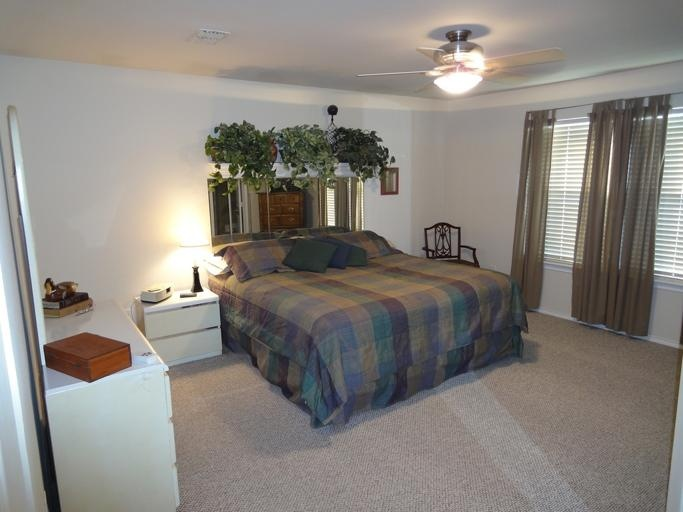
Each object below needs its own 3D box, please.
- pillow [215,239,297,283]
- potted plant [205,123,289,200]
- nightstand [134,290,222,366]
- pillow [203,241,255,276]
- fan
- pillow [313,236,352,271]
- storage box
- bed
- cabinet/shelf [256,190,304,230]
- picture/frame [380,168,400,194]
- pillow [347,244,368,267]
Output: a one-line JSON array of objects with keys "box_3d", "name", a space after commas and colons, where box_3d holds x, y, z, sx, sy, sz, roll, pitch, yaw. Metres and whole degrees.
[{"box_3d": [-0.851, 0.022, 5.229, 0.540, 0.138, 0.451, -14, 45, -39], "name": "pillow"}, {"box_3d": [-1.057, -0.984, 5.363, 0.810, 0.754, 0.538, 4, 1, -21], "name": "potted plant"}, {"box_3d": [-1.690, 0.632, 5.166, 0.866, 0.794, 0.651, -8, 7, -36], "name": "nightstand"}, {"box_3d": [-1.328, 0.056, 5.448, 0.409, 0.132, 0.433, 13, 14, 37], "name": "pillow"}, {"box_3d": [0.990, -1.509, 4.198, 0.936, 0.327, 0.971, -2, -2, -7], "name": "fan"}, {"box_3d": [-0.091, -0.031, 5.519, 0.310, 0.116, 0.353, 15, 39, 5], "name": "pillow"}, {"box_3d": [-1.554, 0.610, 3.046, 0.469, 0.188, 0.284, 4, 12, 28], "name": "storage box"}, {"box_3d": [0.211, 0.482, 5.143, 2.465, 1.241, 2.084, -9, 13, -32], "name": "bed"}, {"box_3d": [-0.743, -0.534, 5.774, 0.411, 0.429, 0.159, -4, 7, -27], "name": "cabinet/shelf"}, {"box_3d": [0.636, -1.002, 6.657, 0.350, 0.415, 0.031, -2, 3, -42], "name": "picture/frame"}, {"box_3d": [0.177, 0.013, 5.595, 0.216, 0.083, 0.269, 8, 38, -6], "name": "pillow"}]
